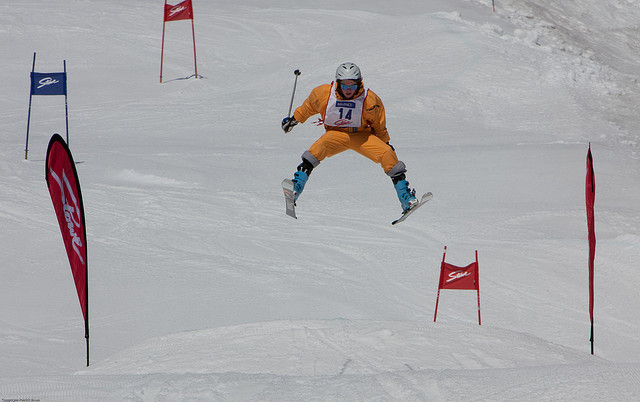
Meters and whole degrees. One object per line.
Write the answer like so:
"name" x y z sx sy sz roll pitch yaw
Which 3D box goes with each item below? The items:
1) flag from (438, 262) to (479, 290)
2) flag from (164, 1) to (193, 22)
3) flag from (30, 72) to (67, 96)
"flag" 3.026 1.674 24.127 1.044 0.613 0.130 5 0 -31
"flag" -4.399 -5.796 34.213 0.717 0.801 1.180 -2 28 -18
"flag" -6.960 -2.902 28.295 0.852 0.741 0.706 -1 29 -14
